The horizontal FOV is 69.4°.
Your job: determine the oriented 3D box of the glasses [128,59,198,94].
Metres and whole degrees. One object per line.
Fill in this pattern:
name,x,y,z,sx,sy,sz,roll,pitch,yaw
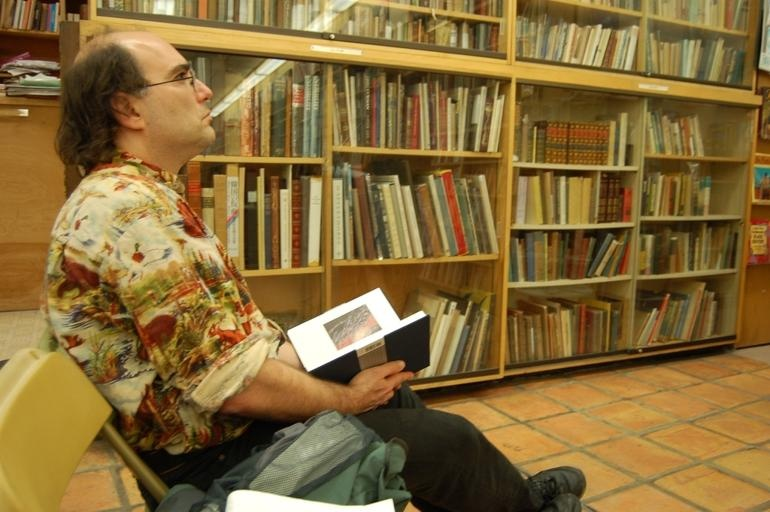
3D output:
glasses,-0.645,-0.527,1.673,0.178,0.036,0.106,-12,28,-6
